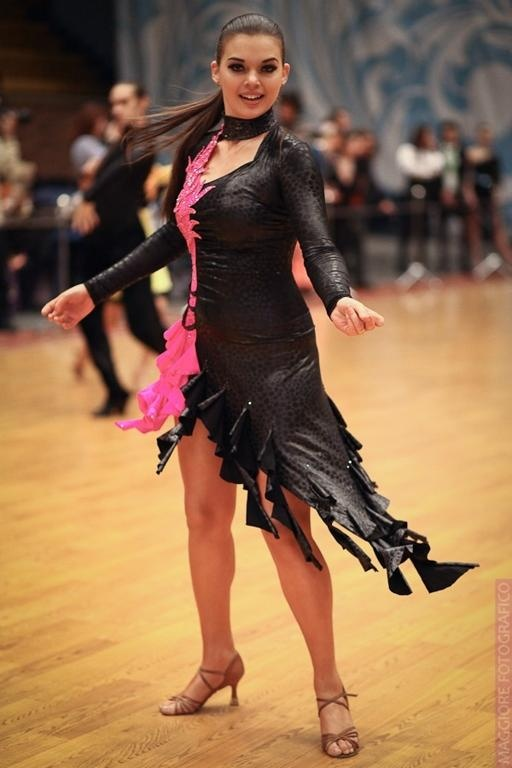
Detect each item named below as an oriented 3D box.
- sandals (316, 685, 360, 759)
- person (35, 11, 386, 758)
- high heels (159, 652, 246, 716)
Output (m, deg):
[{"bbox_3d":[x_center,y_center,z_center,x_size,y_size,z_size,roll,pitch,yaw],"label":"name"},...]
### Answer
[{"bbox_3d":[0.144,0.602,1.311,0.050,0.049,0.128,-4,6,-6],"label":"sandals"},{"bbox_3d":[-0.020,0.021,1.368,0.785,1.323,0.374,5,10,39],"label":"person"},{"bbox_3d":[-0.102,0.619,1.565,0.221,0.117,0.078,-7,-4,-14],"label":"high heels"}]
